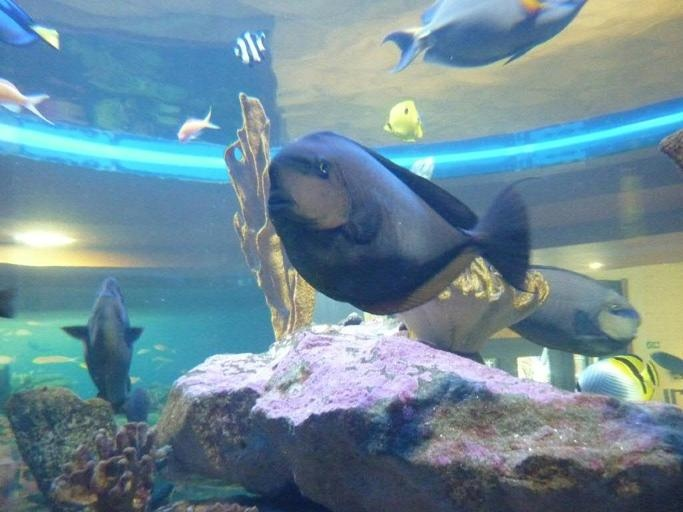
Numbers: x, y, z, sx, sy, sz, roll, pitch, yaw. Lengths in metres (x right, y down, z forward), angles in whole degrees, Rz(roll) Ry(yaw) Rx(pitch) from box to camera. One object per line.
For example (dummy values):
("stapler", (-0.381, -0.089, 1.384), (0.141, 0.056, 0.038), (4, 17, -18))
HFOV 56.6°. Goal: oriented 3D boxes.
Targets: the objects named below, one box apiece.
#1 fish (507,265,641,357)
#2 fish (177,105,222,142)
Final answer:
("fish", (2.173, 0.503, 5.884), (1.045, 0.853, 0.351), (-6, -2, 6))
("fish", (-2.290, -2.054, 9.892), (0.451, 0.367, 0.884), (-5, -3, -19))
